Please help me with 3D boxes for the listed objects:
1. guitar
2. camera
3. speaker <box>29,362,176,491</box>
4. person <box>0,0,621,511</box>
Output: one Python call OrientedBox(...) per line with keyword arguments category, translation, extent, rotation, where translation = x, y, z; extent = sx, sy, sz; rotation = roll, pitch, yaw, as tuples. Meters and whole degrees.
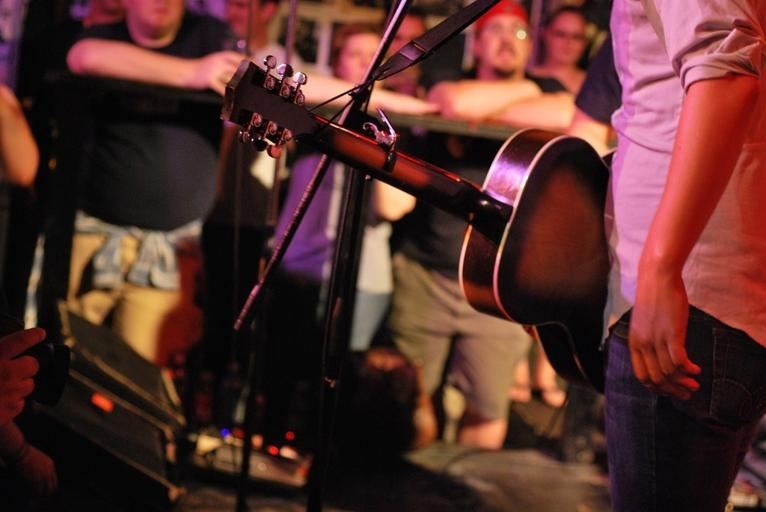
OrientedBox(category="guitar", translation=(0.179, -0.157, 2.026), extent=(1.207, 0.608, 0.166), rotation=(27, -11, -12))
OrientedBox(category="camera", translation=(-1.025, 0.308, 2.335), extent=(0.106, 0.123, 0.304), rotation=(16, -9, -6))
OrientedBox(category="speaker", translation=(-0.894, 0.583, 2.776), extent=(0.523, 0.266, 0.358), rotation=(37, -22, -17))
OrientedBox(category="person", translation=(-0.309, 0.048, 2.624), extent=(1.555, 1.466, 0.400), rotation=(12, 14, -47))
